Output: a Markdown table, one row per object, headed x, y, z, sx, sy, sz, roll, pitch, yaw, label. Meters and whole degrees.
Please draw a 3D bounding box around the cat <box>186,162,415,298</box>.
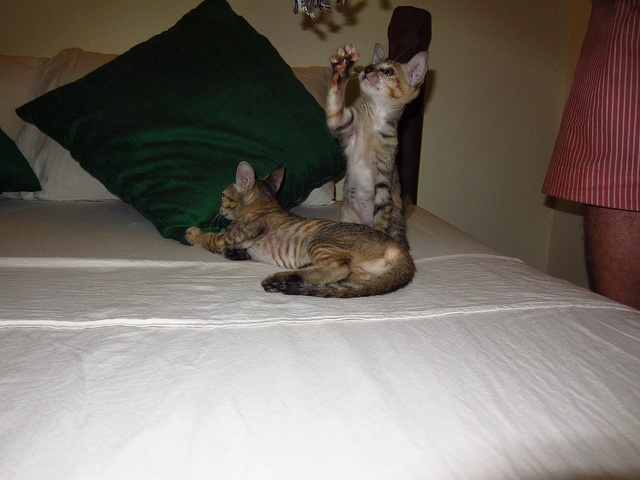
| x | y | z | sx | sy | sz | roll | pitch | yaw | label |
| --- | --- | --- | --- | --- | --- | --- | --- | --- | --- |
| -0.061 | -0.111 | 1.837 | 0.846 | 0.403 | 0.495 | 10 | 4 | 35 | cat |
